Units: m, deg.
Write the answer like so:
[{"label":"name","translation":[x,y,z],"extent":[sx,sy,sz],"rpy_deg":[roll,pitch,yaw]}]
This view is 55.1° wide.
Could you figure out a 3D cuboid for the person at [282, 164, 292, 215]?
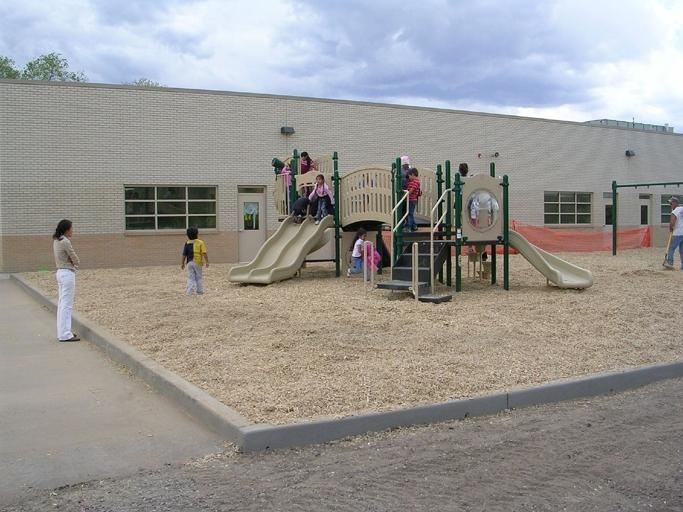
[{"label":"person","translation":[-1.521,-1.861,18.106],"extent":[0.250,1.375,0.760],"rpy_deg":[-2,10,-5]}]

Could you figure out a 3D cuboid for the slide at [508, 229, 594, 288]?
[{"label":"slide","translation":[4.316,0.191,13.518],"extent":[1.020,0.835,1.762],"rpy_deg":[3,14,-31]}]

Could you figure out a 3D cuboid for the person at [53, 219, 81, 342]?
[{"label":"person","translation":[-4.082,0.366,9.651],"extent":[0.374,1.767,0.480],"rpy_deg":[-6,11,-24]}]

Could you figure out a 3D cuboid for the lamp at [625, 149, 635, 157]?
[{"label":"lamp","translation":[13.377,-4.760,30.319],"extent":[0.744,0.375,0.253],"rpy_deg":[-11,13,-43]}]

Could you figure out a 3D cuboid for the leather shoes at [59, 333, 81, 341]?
[{"label":"leather shoes","translation":[-4.021,1.243,9.715],"extent":[0.301,0.132,0.103],"rpy_deg":[-10,6,-8]}]

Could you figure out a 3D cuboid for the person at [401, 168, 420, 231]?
[{"label":"person","translation":[1.510,-1.211,13.889],"extent":[0.332,1.297,0.619],"rpy_deg":[0,10,6]}]

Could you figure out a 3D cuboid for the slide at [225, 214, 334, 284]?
[{"label":"slide","translation":[-1.472,-0.146,15.729],"extent":[1.303,1.453,2.572],"rpy_deg":[5,11,32]}]

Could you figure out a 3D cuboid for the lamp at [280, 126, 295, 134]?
[{"label":"lamp","translation":[-1.854,-4.300,22.404],"extent":[0.535,0.317,0.268],"rpy_deg":[-4,10,-16]}]

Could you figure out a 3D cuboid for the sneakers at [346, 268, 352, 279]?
[{"label":"sneakers","translation":[0.183,0.454,16.914],"extent":[0.171,0.324,0.224],"rpy_deg":[2,-2,3]}]
